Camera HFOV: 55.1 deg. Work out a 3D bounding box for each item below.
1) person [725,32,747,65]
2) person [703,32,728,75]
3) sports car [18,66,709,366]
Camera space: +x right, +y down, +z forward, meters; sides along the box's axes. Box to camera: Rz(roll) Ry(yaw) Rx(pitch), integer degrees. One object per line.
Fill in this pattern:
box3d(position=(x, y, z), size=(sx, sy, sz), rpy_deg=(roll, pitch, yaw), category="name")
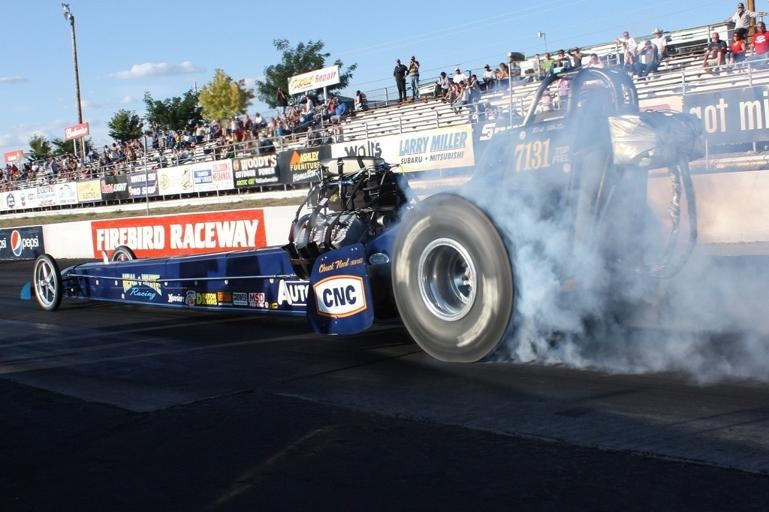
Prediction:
box3d(position=(7.916, -4.684, 16.517), size=(0.375, 0.673, 0.768), rpy_deg=(1, 14, 25), category="person")
box3d(position=(7.663, -4.688, 17.028), size=(0.501, 0.876, 1.360), rpy_deg=(1, 14, 24), category="person")
box3d(position=(-0.128, -0.310, 9.103), size=(7.133, 2.403, 3.082), rpy_deg=(3, 3, 41), category="sports car")
